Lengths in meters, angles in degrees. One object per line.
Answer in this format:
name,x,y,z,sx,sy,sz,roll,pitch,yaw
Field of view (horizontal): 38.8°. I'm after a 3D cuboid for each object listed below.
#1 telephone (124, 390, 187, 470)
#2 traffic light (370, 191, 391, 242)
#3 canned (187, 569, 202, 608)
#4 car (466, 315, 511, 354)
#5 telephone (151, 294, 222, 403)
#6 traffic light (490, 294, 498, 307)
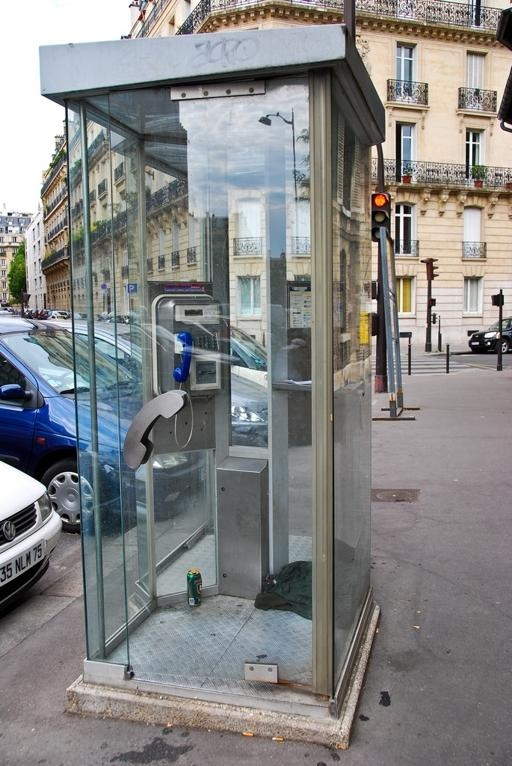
telephone,-0.450,0.203,3.126,0.197,0.448,0.095,10,28,-16
traffic light,1.704,-2.245,9.795,0.226,0.693,0.485,-1,4,6
canned,-0.310,1.036,3.649,0.071,0.177,0.068,-2,4,-11
car,9.173,-1.737,27.771,1.696,1.068,0.908,0,-2,-32
telephone,-0.326,-0.179,3.482,0.328,0.485,0.346,-1,4,-4
traffic light,6.886,-2.381,20.788,0.140,0.292,1.354,0,5,15
